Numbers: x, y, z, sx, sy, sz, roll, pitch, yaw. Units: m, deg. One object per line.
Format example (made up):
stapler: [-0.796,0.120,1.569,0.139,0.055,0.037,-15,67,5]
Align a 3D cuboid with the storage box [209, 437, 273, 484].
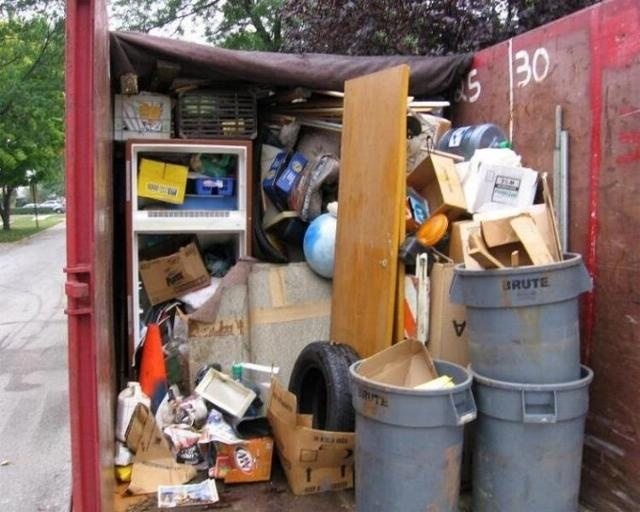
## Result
storage box: [-0.601,1.493,4.607,0.474,0.382,0.286,1,10,-19]

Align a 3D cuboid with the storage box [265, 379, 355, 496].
storage box: [-0.007,1.362,4.611,0.464,0.659,0.630,-1,0,-10]

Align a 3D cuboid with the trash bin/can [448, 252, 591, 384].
trash bin/can: [1.309,0.395,4.120,0.781,0.800,0.753,-3,-3,-3]
